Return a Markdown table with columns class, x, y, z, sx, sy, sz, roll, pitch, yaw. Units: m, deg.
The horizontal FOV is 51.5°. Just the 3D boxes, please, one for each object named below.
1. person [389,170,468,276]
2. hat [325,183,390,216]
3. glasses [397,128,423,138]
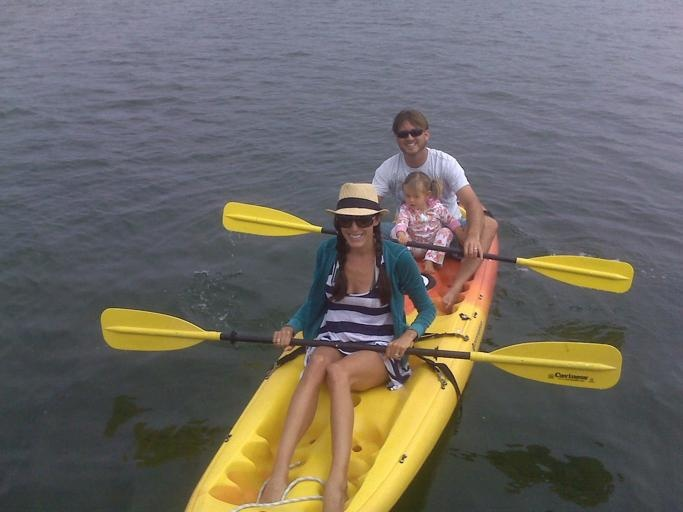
| class | x | y | z | sx | sy | sz | roll | pitch | yaw |
| --- | --- | --- | --- | --- | --- | --- | --- | --- | --- |
| person | 0.830 | -0.343 | 6.956 | 0.894 | 1.064 | 0.896 | -2 | 38 | 6 |
| hat | 0.114 | -0.460 | 5.716 | 0.551 | 0.239 | 0.651 | 2 | 3 | 9 |
| glasses | 0.647 | -1.152 | 6.663 | 0.237 | 0.101 | 0.055 | 3 | 46 | 0 |
